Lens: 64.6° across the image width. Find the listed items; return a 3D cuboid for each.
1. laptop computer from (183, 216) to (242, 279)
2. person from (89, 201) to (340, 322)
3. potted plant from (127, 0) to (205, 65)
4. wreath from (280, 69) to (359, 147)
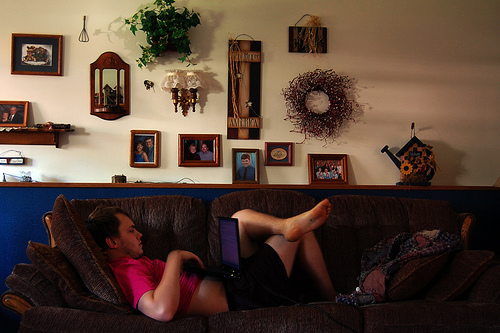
[{"bbox_3d":[-0.251,0.558,2.783,0.380,0.431,0.189,0,7,-3],"label":"laptop computer"},{"bbox_3d":[-0.220,0.637,2.938,2.027,0.765,0.820,0,2,-15],"label":"person"},{"bbox_3d":[-0.755,-1.237,3.639,0.633,0.574,0.268,-2,-10,-3],"label":"potted plant"},{"bbox_3d":[0.621,-0.537,3.747,0.785,0.685,0.166,2,3,-5],"label":"wreath"}]
